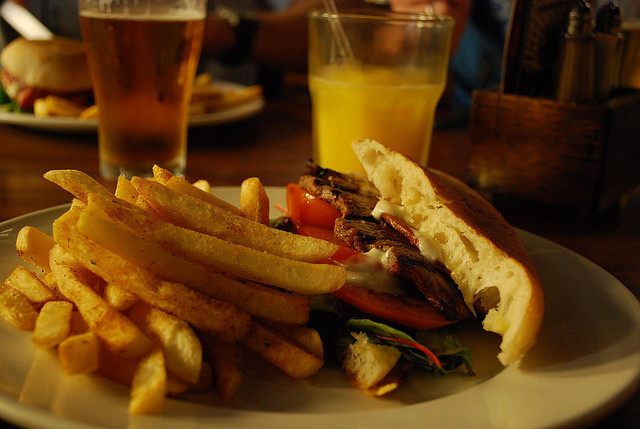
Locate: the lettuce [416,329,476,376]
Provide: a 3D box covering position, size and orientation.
[{"bbox_3d":[0.362,0.395,1.576,0.103,0.097,0.132,-1,2,-15],"label":"lettuce"}]

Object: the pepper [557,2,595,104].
[{"bbox_3d":[1.043,-0.629,2.208,0.119,0.406,0.132,-3,-8,28],"label":"pepper"}]

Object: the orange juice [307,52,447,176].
[{"bbox_3d":[0.247,-0.455,2.394,0.504,0.632,0.359,-8,11,-28],"label":"orange juice"}]

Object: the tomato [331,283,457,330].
[{"bbox_3d":[0.256,0.299,1.771,0.274,0.077,0.408,2,-11,39],"label":"tomato"}]

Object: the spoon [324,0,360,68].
[{"bbox_3d":[0.087,-0.738,2.261,0.048,0.363,0.054,-8,27,32],"label":"spoon"}]

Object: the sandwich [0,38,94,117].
[{"bbox_3d":[-1.211,-0.620,2.415,0.355,0.171,0.358,15,20,24],"label":"sandwich"}]
